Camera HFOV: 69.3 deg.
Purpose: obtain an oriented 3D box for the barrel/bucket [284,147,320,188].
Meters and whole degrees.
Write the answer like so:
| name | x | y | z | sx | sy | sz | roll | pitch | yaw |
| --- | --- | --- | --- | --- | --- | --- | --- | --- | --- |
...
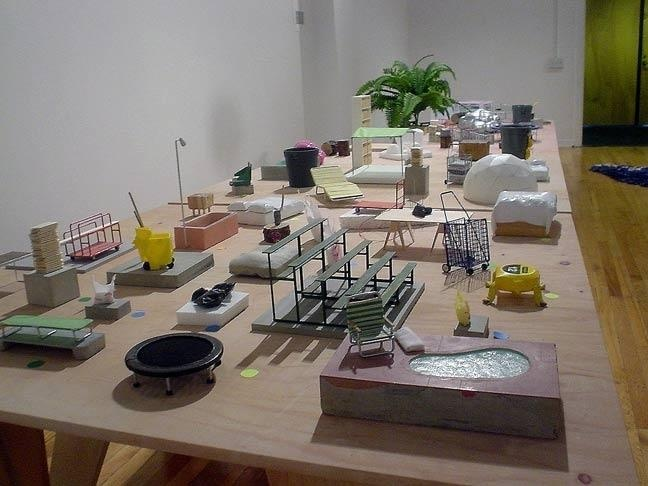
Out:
| name | x | y | z | sx | sy | sz | roll | pitch | yaw |
| --- | --- | --- | --- | --- | --- | --- | --- | --- | --- |
| barrel/bucket | -0.223 | -0.848 | 5.126 | 0.477 | 0.382 | 0.422 | 3 | 24 | 15 |

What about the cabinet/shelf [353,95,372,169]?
| name | x | y | z | sx | sy | sz | roll | pitch | yaw |
| --- | --- | --- | --- | --- | --- | --- | --- | --- | --- |
| cabinet/shelf | 0.459 | -1.343 | 5.747 | 0.210 | 1.289 | 0.746 | 0 | 20 | 8 |

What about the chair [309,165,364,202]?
| name | x | y | z | sx | sy | sz | roll | pitch | yaw |
| --- | --- | --- | --- | --- | --- | --- | --- | --- | --- |
| chair | 0.087 | -0.595 | 4.614 | 0.301 | 0.221 | 0.528 | -14 | 34 | -19 |
